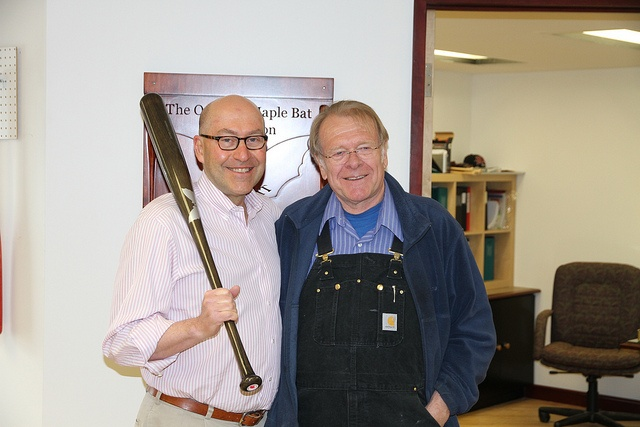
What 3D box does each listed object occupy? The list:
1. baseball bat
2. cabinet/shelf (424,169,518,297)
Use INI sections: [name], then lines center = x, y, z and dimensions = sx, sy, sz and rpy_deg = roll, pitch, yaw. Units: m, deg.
[baseball bat]
center = -0.508, 0.164, 2.629
dimensions = 0.141, 1.752, 0.142
rpy_deg = -9, -26, -24
[cabinet/shelf]
center = 1.231, 0.088, 4.749
dimensions = 0.390, 1.197, 1.250
rpy_deg = -3, -6, 41
